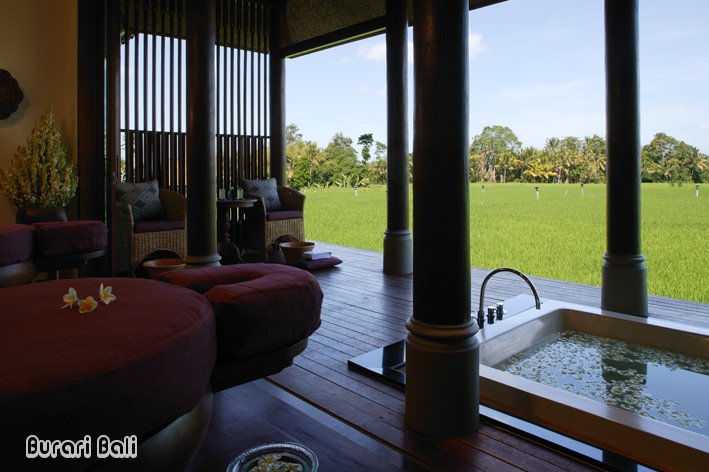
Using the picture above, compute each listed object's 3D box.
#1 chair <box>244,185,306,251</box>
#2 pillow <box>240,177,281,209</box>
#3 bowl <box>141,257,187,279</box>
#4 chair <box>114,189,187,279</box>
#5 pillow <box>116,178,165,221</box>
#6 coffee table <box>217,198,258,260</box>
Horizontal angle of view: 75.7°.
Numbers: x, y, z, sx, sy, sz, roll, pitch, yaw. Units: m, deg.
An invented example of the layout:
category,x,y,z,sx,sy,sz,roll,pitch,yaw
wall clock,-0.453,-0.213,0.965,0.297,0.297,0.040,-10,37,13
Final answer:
category,x,y,z,sx,sy,sz,roll,pitch,yaw
chair,-1.097,-0.277,6.250,0.857,0.920,0.896,-3,3,2
pillow,-1.242,-0.548,6.219,0.272,0.468,0.528,6,9,42
bowl,-1.588,0.262,3.776,0.304,0.127,0.306,-1,11,0
chair,-2.253,-0.117,5.121,0.758,0.928,0.797,1,7,28
pillow,-2.370,-0.379,5.052,0.139,0.424,0.413,-20,-2,40
coffee table,-1.665,-0.080,5.849,0.751,0.808,0.760,-3,4,-20
